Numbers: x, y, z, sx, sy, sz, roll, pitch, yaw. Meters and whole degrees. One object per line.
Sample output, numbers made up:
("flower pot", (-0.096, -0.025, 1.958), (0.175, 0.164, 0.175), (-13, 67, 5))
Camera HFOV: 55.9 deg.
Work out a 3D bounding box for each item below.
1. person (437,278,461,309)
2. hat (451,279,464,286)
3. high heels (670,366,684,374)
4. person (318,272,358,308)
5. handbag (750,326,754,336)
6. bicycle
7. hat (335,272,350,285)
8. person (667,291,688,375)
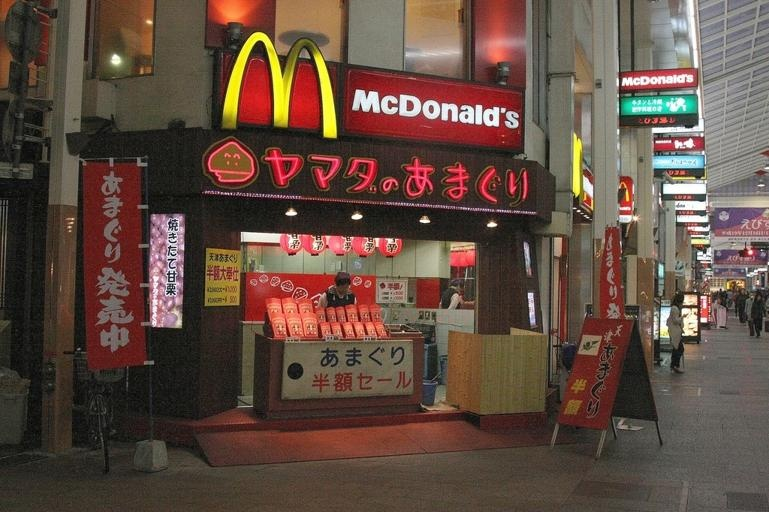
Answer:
("person", (1.361, 0.792, 14.892), (0.266, 0.632, 0.723), (-1, 8, -14))
("hat", (1.504, 0.553, 14.786), (0.171, 0.107, 0.135), (7, 0, 35))
("high heels", (7.311, 2.851, 17.957), (0.389, 0.170, 0.133), (-4, -3, 8))
("person", (-0.808, 0.711, 12.879), (0.791, 0.768, 0.425), (4, 8, -31))
("handbag", (14.494, 2.963, 28.460), (0.159, 0.432, 0.495), (5, 9, 27))
("bicycle", (-4.274, 2.185, 10.742), (0.772, 1.602, 1.905), (-2, 9, -20))
("hat", (-0.720, 0.412, 12.700), (0.190, 0.181, 0.232), (3, -14, -9))
("person", (7.376, 1.950, 18.259), (0.397, 1.986, 1.193), (4, 9, 22))
